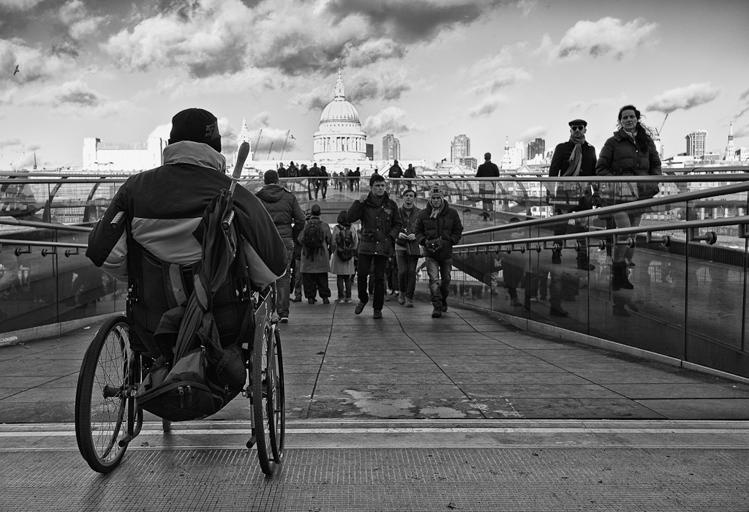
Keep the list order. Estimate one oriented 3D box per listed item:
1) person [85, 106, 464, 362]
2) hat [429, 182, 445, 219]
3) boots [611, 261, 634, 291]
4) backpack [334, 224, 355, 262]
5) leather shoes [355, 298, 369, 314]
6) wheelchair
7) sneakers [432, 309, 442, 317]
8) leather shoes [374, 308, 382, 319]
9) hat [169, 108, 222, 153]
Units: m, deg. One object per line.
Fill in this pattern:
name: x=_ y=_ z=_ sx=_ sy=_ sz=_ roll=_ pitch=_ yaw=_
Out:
person: x=-1.198 y=-0.147 z=4.732 sx=1.191 sy=1.548 sz=0.492 roll=0 pitch=5 yaw=7
hat: x=0.982 y=-0.866 z=11.954 sx=0.270 sy=0.441 sz=0.232 roll=-3 pitch=-14 yaw=6
boots: x=2.717 y=0.230 z=8.348 sx=0.253 sy=0.288 sz=0.249 roll=-2 pitch=-2 yaw=-5
backpack: x=-0.574 y=-0.298 z=15.399 sx=0.423 sy=0.714 sz=0.532 roll=2 pitch=18 yaw=0
leather shoes: x=-0.205 y=0.774 z=12.027 sx=0.114 sy=0.320 sz=0.205 roll=9 pitch=-14 yaw=0
wheelchair: x=-1.277 y=0.827 z=5.232 sx=1.413 sy=1.898 sz=1.520 roll=-2 pitch=-29 yaw=5
sneakers: x=0.958 y=0.876 z=11.640 sx=0.093 sy=0.100 sz=0.254 roll=-1 pitch=-8 yaw=5
leather shoes: x=0.041 y=0.863 z=11.419 sx=0.117 sy=0.124 sz=0.315 roll=0 pitch=-7 yaw=3
hat: x=-1.189 y=-0.822 z=4.961 sx=0.345 sy=0.286 sz=0.328 roll=0 pitch=8 yaw=-13
